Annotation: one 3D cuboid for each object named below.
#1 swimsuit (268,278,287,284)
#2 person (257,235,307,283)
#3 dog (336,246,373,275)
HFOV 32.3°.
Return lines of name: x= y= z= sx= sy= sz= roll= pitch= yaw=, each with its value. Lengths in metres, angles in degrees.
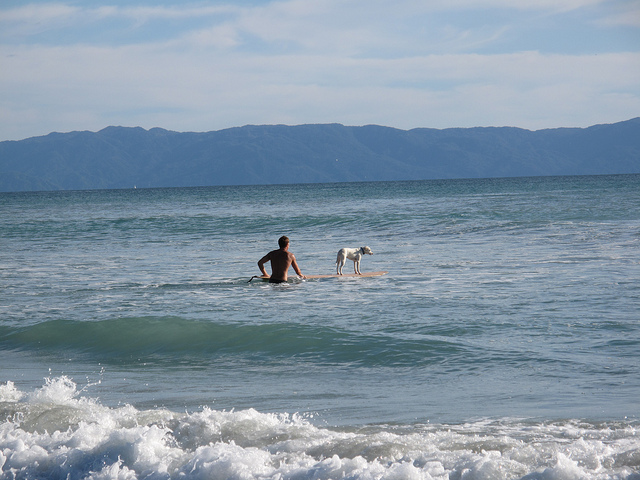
swimsuit: x=-1.124 y=1.106 z=29.301 sx=0.384 sy=0.142 sz=0.394 roll=-2 pitch=1 yaw=-45
person: x=-1.077 y=0.541 z=29.549 sx=1.120 sy=1.208 sz=0.763 roll=-2 pitch=1 yaw=-3
dog: x=0.947 y=0.613 z=31.854 sx=0.874 sy=0.723 sz=1.826 roll=-2 pitch=1 yaw=11
